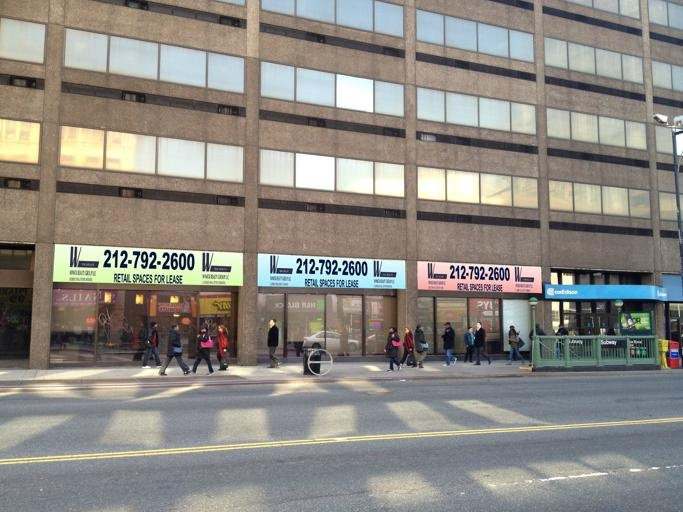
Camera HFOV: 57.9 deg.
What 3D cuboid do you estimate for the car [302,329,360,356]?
[{"bbox_3d":[-0.547,4.479,32.455,2.845,1.048,1.266,0,-5,-19],"label":"car"}]

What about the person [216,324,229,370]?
[{"bbox_3d":[-5.210,4.026,27.025,0.407,1.893,0.668,1,-2,-15],"label":"person"}]

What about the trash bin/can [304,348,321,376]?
[{"bbox_3d":[-1.239,4.506,26.168,0.763,1.456,0.766,4,-9,-31],"label":"trash bin/can"}]
